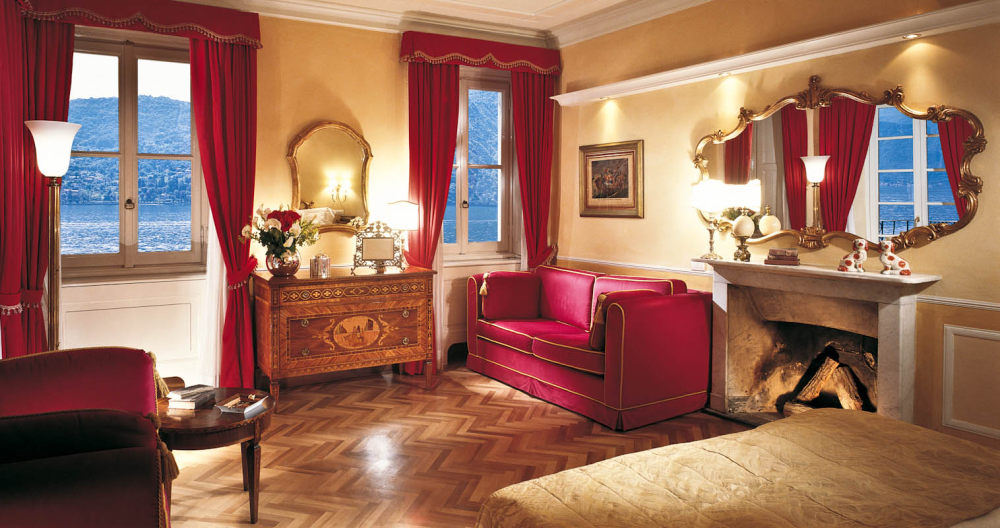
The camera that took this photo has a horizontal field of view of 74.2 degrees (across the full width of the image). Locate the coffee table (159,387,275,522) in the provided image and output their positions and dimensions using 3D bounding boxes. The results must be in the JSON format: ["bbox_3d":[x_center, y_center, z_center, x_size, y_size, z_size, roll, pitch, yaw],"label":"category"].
[{"bbox_3d":[-2.429,1.615,5.872,1.134,0.838,1.121,-2,2,-35],"label":"coffee table"}]

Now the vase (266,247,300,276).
[{"bbox_3d":[-2.449,-0.015,7.472,0.360,0.220,0.320,-1,3,1],"label":"vase"}]

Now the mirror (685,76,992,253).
[{"bbox_3d":[3.466,-0.939,7.320,0.103,2.153,3.574,-7,8,-26],"label":"mirror"}]

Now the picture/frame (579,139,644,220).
[{"bbox_3d":[1.436,-1.072,8.532,0.138,0.961,1.029,-10,11,-42],"label":"picture/frame"}]

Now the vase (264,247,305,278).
[{"bbox_3d":[-2.440,-0.004,7.473,0.381,0.227,0.339,0,2,-3],"label":"vase"}]

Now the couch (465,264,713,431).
[{"bbox_3d":[0.987,0.908,7.817,2.489,1.496,1.159,5,10,42],"label":"couch"}]

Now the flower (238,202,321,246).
[{"bbox_3d":[-2.574,-0.432,7.586,0.653,0.327,0.572,8,13,24],"label":"flower"}]

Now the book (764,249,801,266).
[{"bbox_3d":[2.952,-0.062,6.894,0.283,0.118,0.207,3,5,39],"label":"book"}]

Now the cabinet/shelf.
[{"bbox_3d":[-1.861,0.775,7.685,1.844,1.068,0.673,-2,3,-27],"label":"cabinet/shelf"}]
